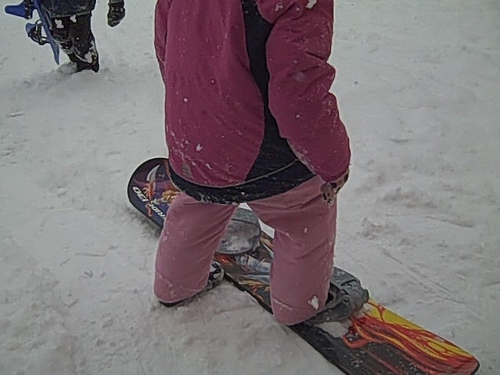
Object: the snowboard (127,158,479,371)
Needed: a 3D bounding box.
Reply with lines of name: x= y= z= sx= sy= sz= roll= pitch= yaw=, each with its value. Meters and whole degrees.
snowboard: x=0.340 y=0.624 z=3.389 sx=2.228 sy=0.514 sz=0.379 roll=35 pitch=13 yaw=19
